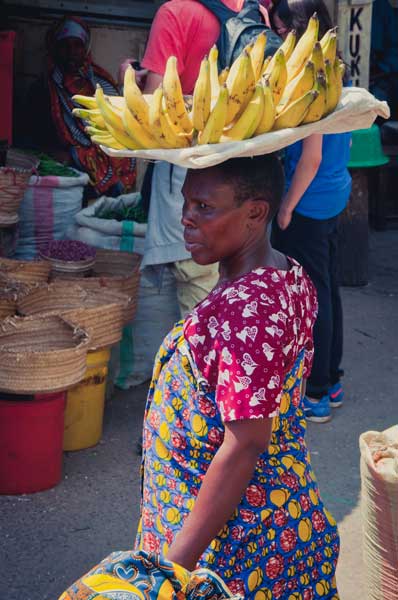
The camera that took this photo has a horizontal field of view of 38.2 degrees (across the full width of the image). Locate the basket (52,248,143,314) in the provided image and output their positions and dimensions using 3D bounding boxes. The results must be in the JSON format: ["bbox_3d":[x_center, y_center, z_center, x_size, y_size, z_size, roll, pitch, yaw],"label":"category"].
[{"bbox_3d":[-0.634,-0.165,3.746,0.646,0.401,0.444,0,21,-2],"label":"basket"}]

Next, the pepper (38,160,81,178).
[{"bbox_3d":[-1.124,-1.057,4.587,0.324,0.153,0.572,1,10,-13],"label":"pepper"}]

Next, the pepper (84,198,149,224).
[{"bbox_3d":[-0.596,-0.653,4.353,0.367,0.123,0.265,-3,12,6],"label":"pepper"}]
